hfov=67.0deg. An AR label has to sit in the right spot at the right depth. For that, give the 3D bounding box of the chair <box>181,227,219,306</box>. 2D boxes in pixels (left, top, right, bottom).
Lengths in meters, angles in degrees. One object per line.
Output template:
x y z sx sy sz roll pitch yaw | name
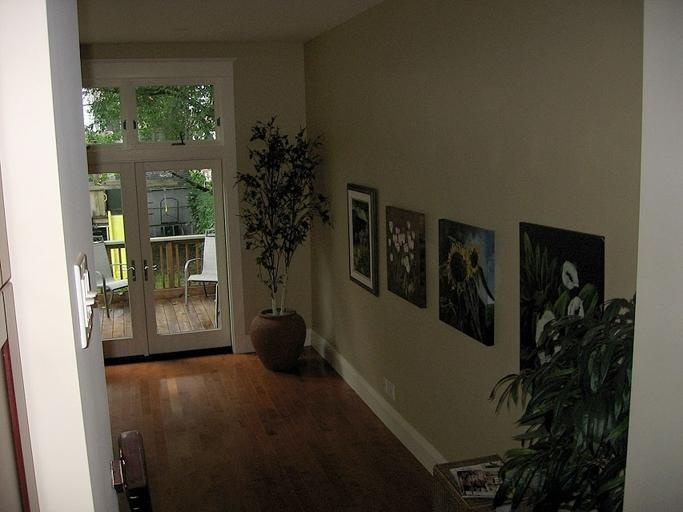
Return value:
-1.543 0.113 5.530 0.416 0.694 0.365 -9 8 -44 | chair

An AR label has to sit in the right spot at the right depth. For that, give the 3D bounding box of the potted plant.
-0.591 -0.151 5.230 0.814 2.500 0.829 -5 12 -19 | potted plant

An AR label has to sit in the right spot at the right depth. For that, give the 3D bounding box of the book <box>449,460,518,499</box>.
0.689 1.088 2.517 0.245 0.017 0.295 -6 9 -5 | book

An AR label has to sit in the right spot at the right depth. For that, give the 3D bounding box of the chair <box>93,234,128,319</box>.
-2.355 0.222 5.275 0.459 0.687 0.465 1 8 -4 | chair
